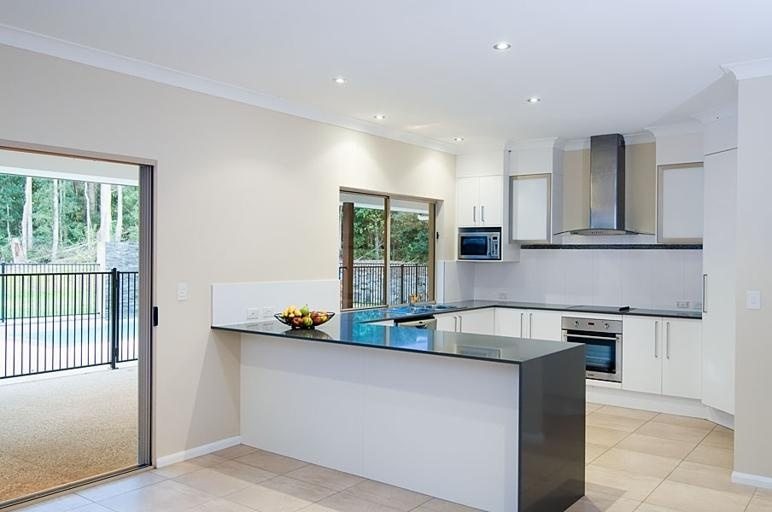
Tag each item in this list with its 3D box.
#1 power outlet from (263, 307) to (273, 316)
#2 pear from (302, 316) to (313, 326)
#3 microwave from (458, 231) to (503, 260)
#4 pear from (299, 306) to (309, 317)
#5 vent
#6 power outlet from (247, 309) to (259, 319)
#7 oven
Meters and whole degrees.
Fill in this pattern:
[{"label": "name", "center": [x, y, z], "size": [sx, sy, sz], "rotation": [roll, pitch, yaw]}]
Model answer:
[{"label": "power outlet", "center": [-1.284, 0.605, 5.576], "size": [0.015, 0.069, 0.104], "rotation": [-3, -3, 32]}, {"label": "pear", "center": [-0.775, 0.656, 5.138], "size": [0.088, 0.086, 0.092], "rotation": [0, -3, 34]}, {"label": "microwave", "center": [1.412, -0.137, 7.618], "size": [0.681, 0.414, 0.417], "rotation": [-2, -4, 36]}, {"label": "pear", "center": [-0.834, 0.571, 5.248], "size": [0.095, 0.121, 0.093], "rotation": [-2, 2, -43]}, {"label": "vent", "center": [3.075, -1.004, 7.049], "size": [1.381, 1.323, 0.467], "rotation": [2, 5, 34]}, {"label": "power outlet", "center": [-1.421, 0.617, 5.461], "size": [0.016, 0.094, 0.116], "rotation": [-5, -4, 42]}, {"label": "oven", "center": [2.745, 1.297, 6.968], "size": [0.822, 0.832, 0.651], "rotation": [1, -19, 18]}]
